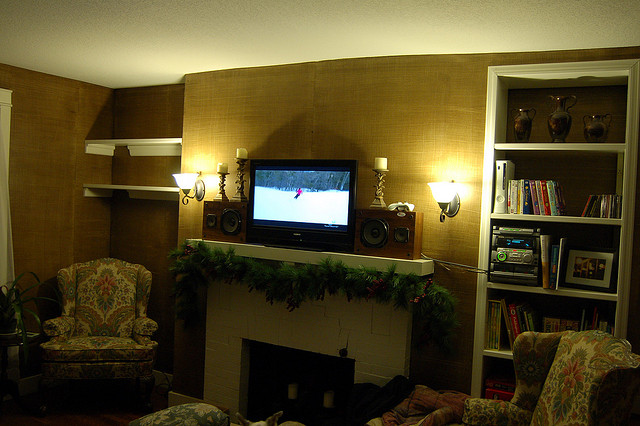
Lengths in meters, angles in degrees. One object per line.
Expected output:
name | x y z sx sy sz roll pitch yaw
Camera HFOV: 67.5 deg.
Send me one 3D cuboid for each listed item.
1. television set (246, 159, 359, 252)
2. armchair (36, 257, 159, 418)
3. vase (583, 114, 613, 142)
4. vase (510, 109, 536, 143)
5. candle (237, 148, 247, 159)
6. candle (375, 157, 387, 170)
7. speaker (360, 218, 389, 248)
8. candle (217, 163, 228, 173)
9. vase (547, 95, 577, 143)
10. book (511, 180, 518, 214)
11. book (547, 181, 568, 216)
television set | -0.170 -0.079 3.925 0.962 0.726 0.115 4 2 26
armchair | -2.081 1.152 4.538 0.968 1.342 0.789 2 2 -22
vase | 2.033 -0.619 3.492 0.168 0.197 0.209 9 -10 -29
vase | 1.550 -0.673 3.701 0.189 0.221 0.272 4 3 24
candle | -0.677 -0.521 4.173 0.078 0.084 0.076 1 9 -5
candle | 0.479 -0.385 3.730 0.089 0.082 0.090 4 0 33
speaker | 0.428 0.157 3.680 0.214 0.206 0.216 1 0 27
candle | -0.867 -0.406 4.285 0.084 0.063 0.086 11 10 40
vase | 1.806 -0.714 3.583 0.193 0.326 0.290 4 2 24
book | 1.448 -0.119 3.576 0.045 0.181 0.183 5 1 26
book | 1.741 -0.099 3.526 0.088 0.230 0.254 -5 3 27
